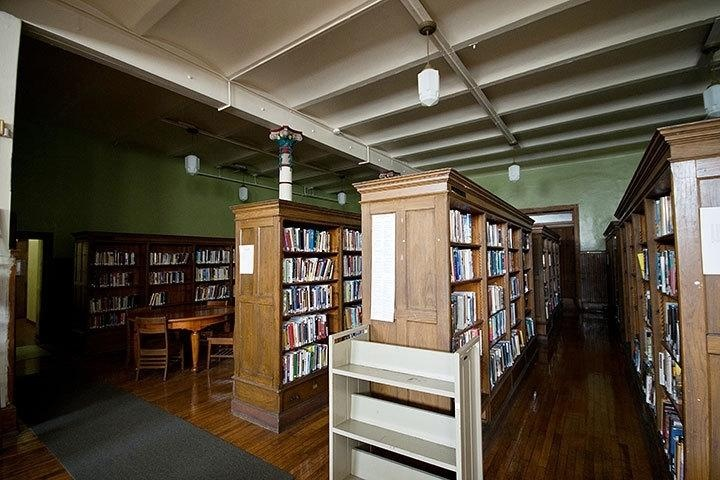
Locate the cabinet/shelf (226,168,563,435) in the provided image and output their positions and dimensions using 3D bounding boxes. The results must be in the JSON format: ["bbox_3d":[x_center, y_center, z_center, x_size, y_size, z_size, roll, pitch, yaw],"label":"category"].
[{"bbox_3d":[0.511,1.017,6.620,1.490,2.522,4.340,-2,-4,28],"label":"cabinet/shelf"}]

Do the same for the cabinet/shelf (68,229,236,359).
[{"bbox_3d":[-4.384,1.115,9.217,0.478,1.505,2.510,-4,-5,35],"label":"cabinet/shelf"}]

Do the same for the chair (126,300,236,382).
[{"bbox_3d":[-3.378,1.970,7.987,1.203,0.652,1.754,-2,-2,18],"label":"chair"}]
